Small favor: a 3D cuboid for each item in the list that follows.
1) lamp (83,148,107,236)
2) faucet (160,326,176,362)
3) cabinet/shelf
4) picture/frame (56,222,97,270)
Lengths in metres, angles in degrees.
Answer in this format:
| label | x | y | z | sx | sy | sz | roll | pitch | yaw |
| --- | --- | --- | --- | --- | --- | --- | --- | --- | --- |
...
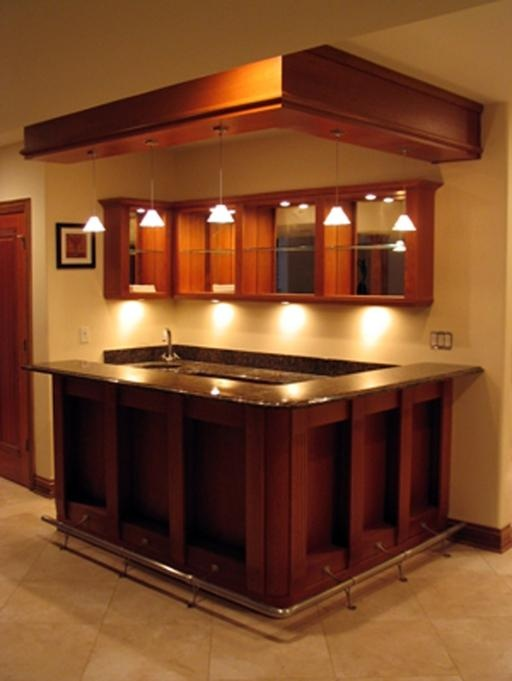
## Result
| label | x | y | z | sx | sy | sz | roll | pitch | yaw |
| --- | --- | --- | --- | --- | --- | --- | --- | --- | --- |
| lamp | -1.137 | -1.042 | 4.003 | 0.147 | 0.532 | 0.153 | 1 | 11 | 2 |
| faucet | -0.800 | 0.042 | 5.246 | 0.158 | 0.312 | 0.662 | 0 | 0 | -9 |
| cabinet/shelf | 0.080 | -0.748 | 4.553 | 2.688 | 0.997 | 0.689 | 1 | 1 | 26 |
| picture/frame | -1.483 | -0.776 | 4.632 | 0.030 | 0.419 | 0.364 | 5 | 8 | 41 |
